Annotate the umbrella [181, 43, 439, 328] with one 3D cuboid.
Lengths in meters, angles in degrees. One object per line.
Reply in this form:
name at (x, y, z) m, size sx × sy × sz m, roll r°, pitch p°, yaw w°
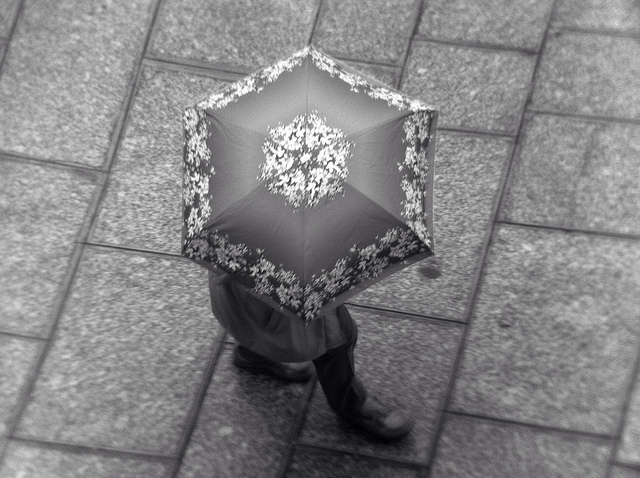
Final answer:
umbrella at (-0.051, -0.230, 2.604) m, size 1.182 × 0.660 × 1.247 m, roll 0°, pitch 86°, yaw 0°
